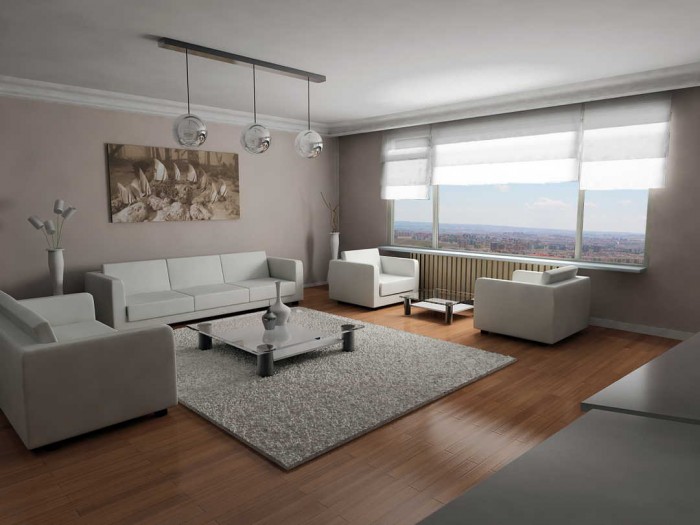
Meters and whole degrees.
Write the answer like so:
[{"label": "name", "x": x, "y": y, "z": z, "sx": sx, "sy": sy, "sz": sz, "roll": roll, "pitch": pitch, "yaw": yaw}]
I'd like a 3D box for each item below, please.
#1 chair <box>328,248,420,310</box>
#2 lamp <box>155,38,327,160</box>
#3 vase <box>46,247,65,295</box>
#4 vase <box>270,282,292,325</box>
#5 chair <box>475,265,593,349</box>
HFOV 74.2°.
[{"label": "chair", "x": 0.422, "y": 0.231, "z": 7.627, "sx": 1.125, "sy": 0.852, "sz": 1.284, "roll": 7, "pitch": 9, "yaw": 36}, {"label": "lamp", "x": -1.092, "y": -1.693, "z": 5.094, "sx": 1.851, "sy": 0.987, "sz": 0.354, "roll": -6, "pitch": 16, "yaw": -39}, {"label": "vase", "x": -3.623, "y": 0.111, "z": 5.758, "sx": 0.170, "sy": 0.585, "sz": 0.379, "roll": -9, "pitch": 16, "yaw": -33}, {"label": "vase", "x": -0.814, "y": 0.458, "z": 5.381, "sx": 0.269, "sy": 0.484, "sz": 0.263, "roll": -5, "pitch": 6, "yaw": -22}, {"label": "chair", "x": 2.341, "y": 0.459, "z": 5.942, "sx": 1.295, "sy": 0.850, "sz": 1.399, "roll": 2, "pitch": 8, "yaw": 28}]
